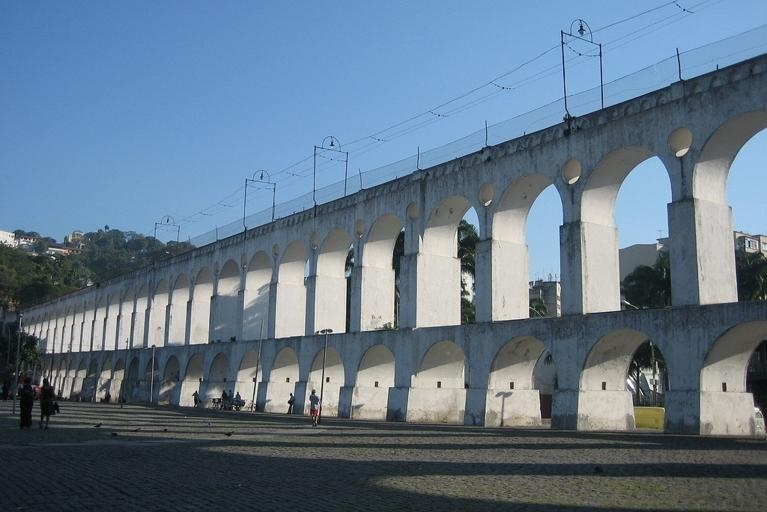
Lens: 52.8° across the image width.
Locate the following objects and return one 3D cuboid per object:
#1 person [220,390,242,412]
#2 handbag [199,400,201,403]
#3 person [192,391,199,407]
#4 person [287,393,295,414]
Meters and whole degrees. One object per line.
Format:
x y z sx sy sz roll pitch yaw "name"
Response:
-7.708 7.375 39.228 0.735 0.879 1.485 9 -11 -31 "person"
-9.997 7.962 42.205 0.153 0.162 0.084 2 0 33 "handbag"
-10.421 7.940 42.961 0.236 0.991 1.798 5 -17 -16 "person"
-4.228 6.810 35.462 0.291 0.894 0.926 2 -16 -7 "person"
